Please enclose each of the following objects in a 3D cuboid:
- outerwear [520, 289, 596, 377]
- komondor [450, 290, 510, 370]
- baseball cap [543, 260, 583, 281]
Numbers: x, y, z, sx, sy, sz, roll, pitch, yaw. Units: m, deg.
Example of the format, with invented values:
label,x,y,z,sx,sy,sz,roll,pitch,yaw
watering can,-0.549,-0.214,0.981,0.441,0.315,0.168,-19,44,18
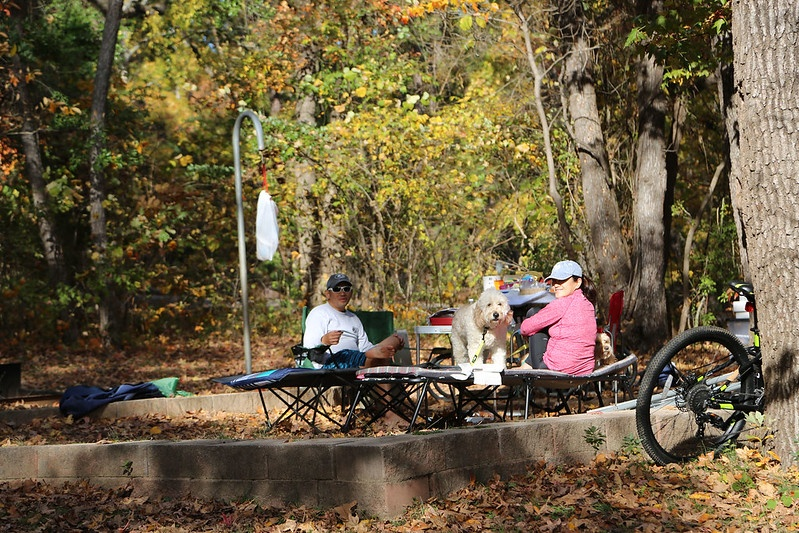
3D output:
label,x,y,z,sx,sy,sz,roll,pitch,yaw
outerwear,2.622,1.090,22.745,1.257,1.436,1.055,4,-5,32
komondor,1.331,1.024,23.232,0.722,1.333,1.443,-3,3,-20
baseball cap,2.612,0.054,22.365,0.423,0.214,0.291,2,-5,-19
